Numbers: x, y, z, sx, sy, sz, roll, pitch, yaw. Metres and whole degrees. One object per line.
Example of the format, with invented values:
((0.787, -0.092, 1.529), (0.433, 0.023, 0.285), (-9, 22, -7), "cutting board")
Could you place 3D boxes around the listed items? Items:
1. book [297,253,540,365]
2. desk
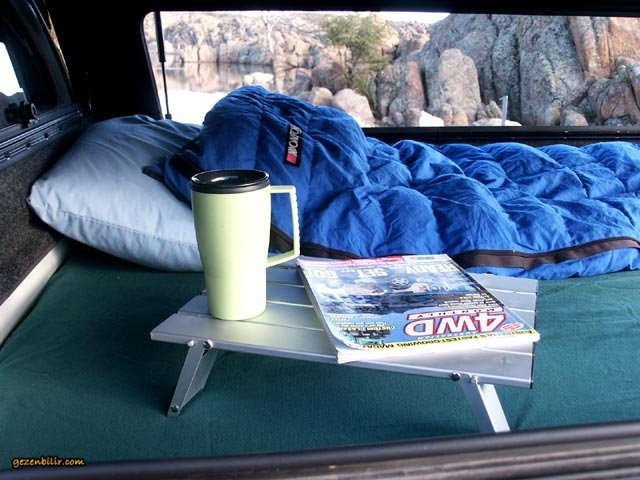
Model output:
((0.117, 0.093, 0.702), (0.216, 0.024, 0.211), (-3, 30, 2), "book")
((0.063, 0.165, 0.784), (0.534, 0.194, 0.382), (10, 28, 19), "desk")
